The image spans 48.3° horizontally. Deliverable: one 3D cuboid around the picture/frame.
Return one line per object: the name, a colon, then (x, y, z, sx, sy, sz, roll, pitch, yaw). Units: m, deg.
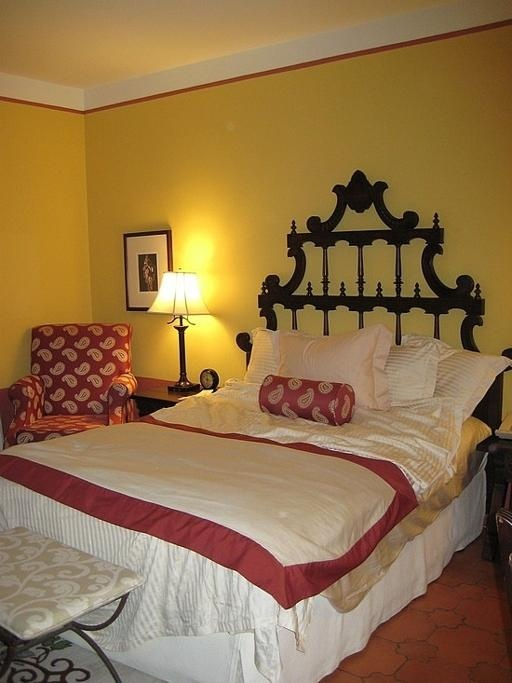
picture/frame: (-0.786, -0.541, 4.195, 0.648, 0.709, 0.050, 7, 14, 35)

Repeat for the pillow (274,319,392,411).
pillow: (0.386, 0.130, 2.821, 0.468, 0.274, 0.146, 1, -21, 38)

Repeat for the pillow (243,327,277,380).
pillow: (0.013, 0.080, 3.306, 0.085, 0.264, 0.252, 11, -9, -35)

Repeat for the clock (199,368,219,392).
clock: (-0.319, 0.264, 3.828, 0.046, 0.135, 0.143, -2, -4, -44)

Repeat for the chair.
chair: (-1.222, 0.275, 3.857, 0.867, 1.010, 0.775, 0, -8, -4)
